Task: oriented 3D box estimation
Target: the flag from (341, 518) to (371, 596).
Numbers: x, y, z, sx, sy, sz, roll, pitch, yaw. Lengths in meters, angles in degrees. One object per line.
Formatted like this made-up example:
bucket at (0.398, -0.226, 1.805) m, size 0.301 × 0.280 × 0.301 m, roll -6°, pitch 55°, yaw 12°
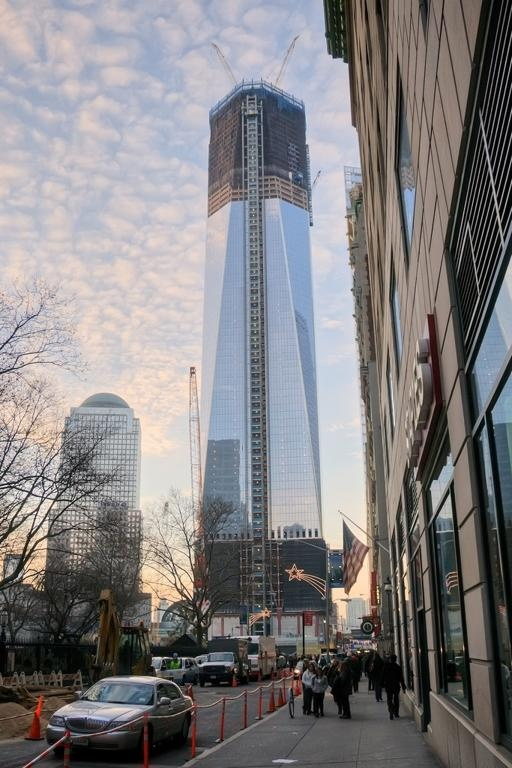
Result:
flag at (5.909, 10.492, 39.965) m, size 0.900 × 4.053 × 3.268 m, roll 3°, pitch -13°, yaw -7°

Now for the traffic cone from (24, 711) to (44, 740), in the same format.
traffic cone at (-4.839, 7.429, 14.390) m, size 0.313 × 0.558 × 1.083 m, roll 5°, pitch -14°, yaw -17°

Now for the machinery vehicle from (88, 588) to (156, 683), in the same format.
machinery vehicle at (-4.834, 9.461, 24.074) m, size 1.584 × 3.413 × 6.271 m, roll 4°, pitch -21°, yaw 6°
